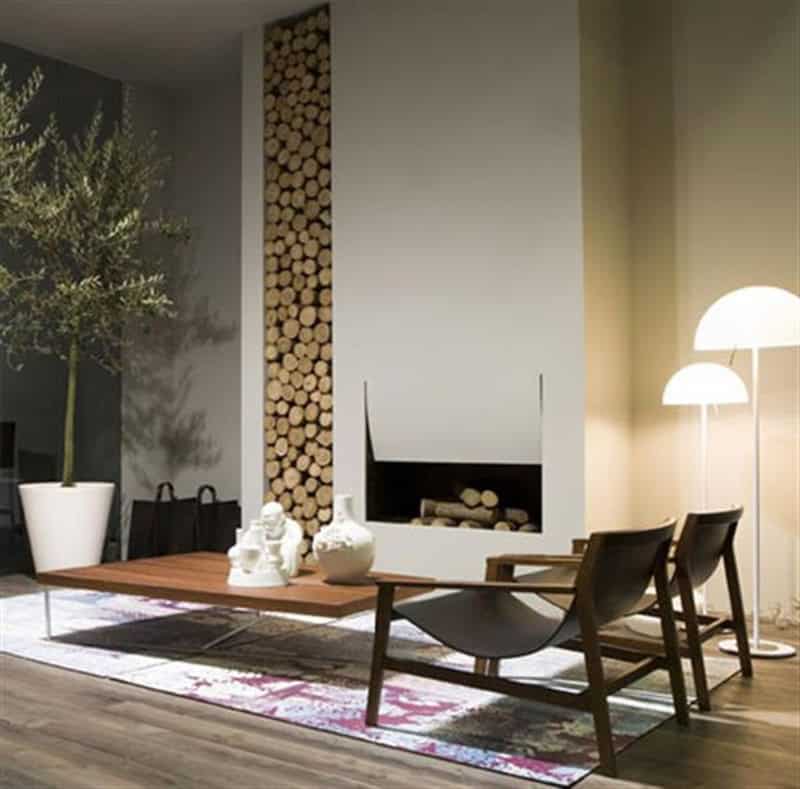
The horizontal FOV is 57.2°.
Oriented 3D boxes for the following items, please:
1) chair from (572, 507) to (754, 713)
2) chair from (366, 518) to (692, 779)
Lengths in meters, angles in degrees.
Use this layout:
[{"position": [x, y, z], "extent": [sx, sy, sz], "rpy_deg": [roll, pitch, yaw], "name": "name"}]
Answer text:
[{"position": [0.916, 0.638, 2.592], "extent": [0.500, 0.807, 0.549], "rpy_deg": [-1, -2, 37], "name": "chair"}, {"position": [0.353, 0.640, 2.069], "extent": [0.806, 0.560, 0.577], "rpy_deg": [-3, -5, 30], "name": "chair"}]
